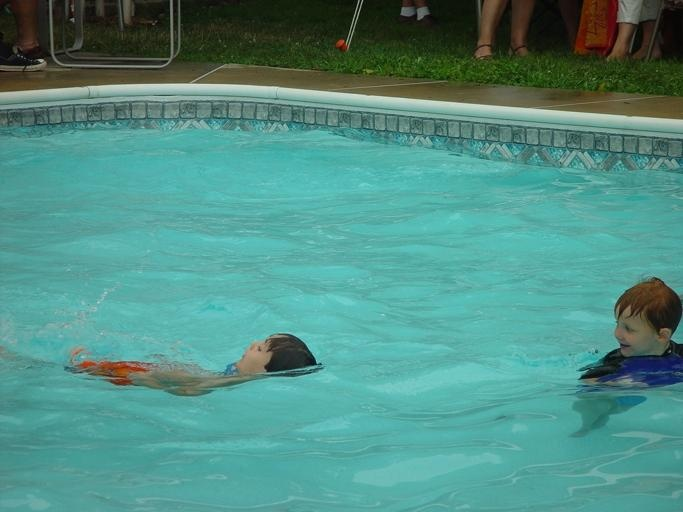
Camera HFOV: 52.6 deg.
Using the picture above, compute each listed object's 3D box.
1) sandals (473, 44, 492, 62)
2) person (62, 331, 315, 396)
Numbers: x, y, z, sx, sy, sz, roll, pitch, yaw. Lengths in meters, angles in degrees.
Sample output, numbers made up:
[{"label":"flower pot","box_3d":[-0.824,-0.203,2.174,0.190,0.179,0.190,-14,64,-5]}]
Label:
[{"label":"sandals","box_3d":[1.528,-2.179,7.441,0.185,0.189,0.436,5,13,8]},{"label":"person","box_3d":[-0.557,0.475,3.048,1.173,0.212,0.319,3,-13,8]}]
